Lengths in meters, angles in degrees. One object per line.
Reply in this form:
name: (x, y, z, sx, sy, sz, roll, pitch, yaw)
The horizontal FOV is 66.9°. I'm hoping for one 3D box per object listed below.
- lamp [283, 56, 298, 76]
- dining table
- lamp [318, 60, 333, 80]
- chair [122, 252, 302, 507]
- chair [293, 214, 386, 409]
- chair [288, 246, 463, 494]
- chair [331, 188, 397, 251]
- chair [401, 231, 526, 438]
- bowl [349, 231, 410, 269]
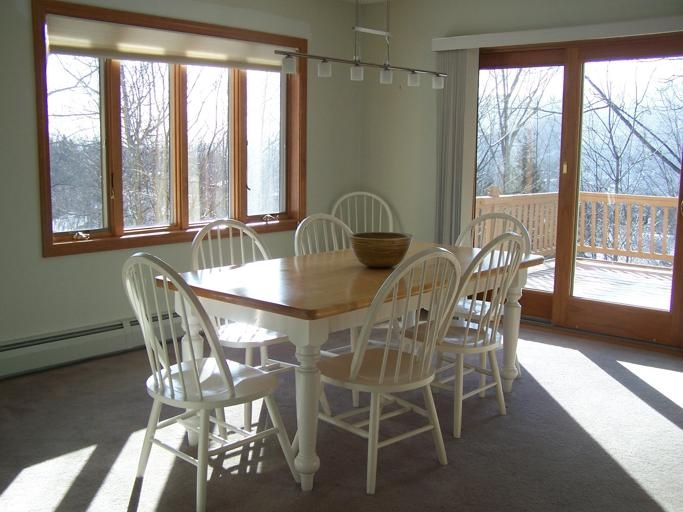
lamp: (-0.318, -1.175, 3.160, 0.068, 0.114, 0.170, 1, 12, 2)
dining table: (0.264, 0.523, 3.273, 1.917, 0.951, 0.992, -12, 15, -39)
lamp: (-0.104, -1.172, 3.232, 0.062, 0.100, 0.164, 2, 12, 6)
chair: (-0.666, 0.680, 2.708, 0.806, 1.590, 0.828, 12, 16, 40)
chair: (-0.154, 0.160, 4.346, 0.517, 0.459, 1.195, 7, 30, -13)
chair: (0.208, 0.525, 2.730, 0.643, 1.230, 0.701, -4, 11, -29)
chair: (0.278, -0.408, 5.681, 0.530, 0.919, 0.605, -4, 12, -12)
chair: (0.737, 0.413, 3.192, 0.630, 1.198, 0.538, -5, 14, -41)
bowl: (0.223, -0.042, 3.119, 0.252, 0.137, 0.260, -1, 3, 0)
